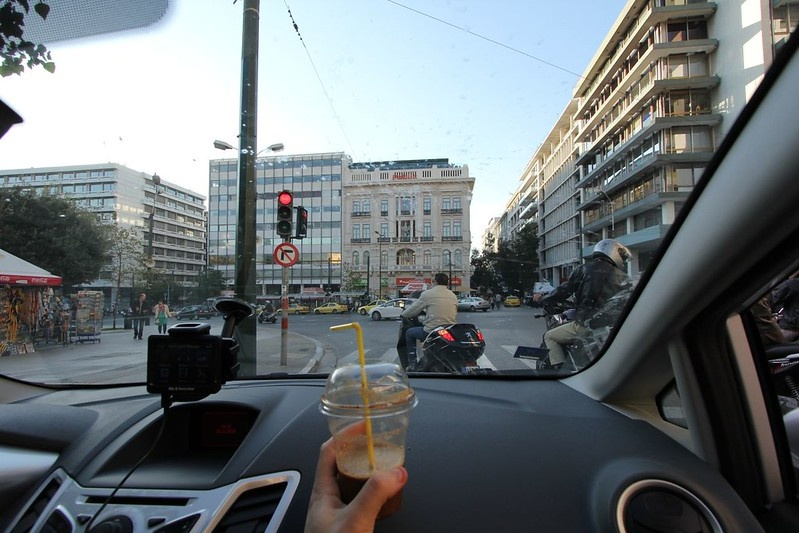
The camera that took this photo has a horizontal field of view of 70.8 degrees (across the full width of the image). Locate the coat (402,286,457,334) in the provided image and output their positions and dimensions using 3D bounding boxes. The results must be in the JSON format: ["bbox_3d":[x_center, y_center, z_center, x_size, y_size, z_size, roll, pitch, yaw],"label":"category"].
[{"bbox_3d":[0.348,0.438,5.896,0.346,0.326,0.548,-1,2,-19],"label":"coat"}]

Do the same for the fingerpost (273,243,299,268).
[{"bbox_3d":[-1.685,-0.174,8.321,0.387,0.381,0.401,1,-2,-20],"label":"fingerpost"}]

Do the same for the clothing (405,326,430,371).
[{"bbox_3d":[0.163,0.730,5.340,0.182,0.208,0.320,1,-3,-7],"label":"clothing"}]

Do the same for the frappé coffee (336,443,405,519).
[{"bbox_3d":[-0.120,0.809,2.204,0.255,0.220,0.292,-2,-10,3],"label":"frappé coffee"}]

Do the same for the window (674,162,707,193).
[{"bbox_3d":[1.326,-0.406,2.573,0.145,0.145,0.108,1,4,41],"label":"window"}]

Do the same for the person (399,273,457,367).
[{"bbox_3d":[0.303,0.501,5.705,0.504,0.591,0.887,2,0,-18],"label":"person"}]

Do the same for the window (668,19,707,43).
[{"bbox_3d":[1.496,-1.210,2.886,0.168,0.121,0.089,2,3,33],"label":"window"}]

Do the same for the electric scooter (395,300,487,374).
[{"bbox_3d":[0.450,0.679,4.878,0.394,0.515,0.777,3,-5,-23],"label":"electric scooter"}]
